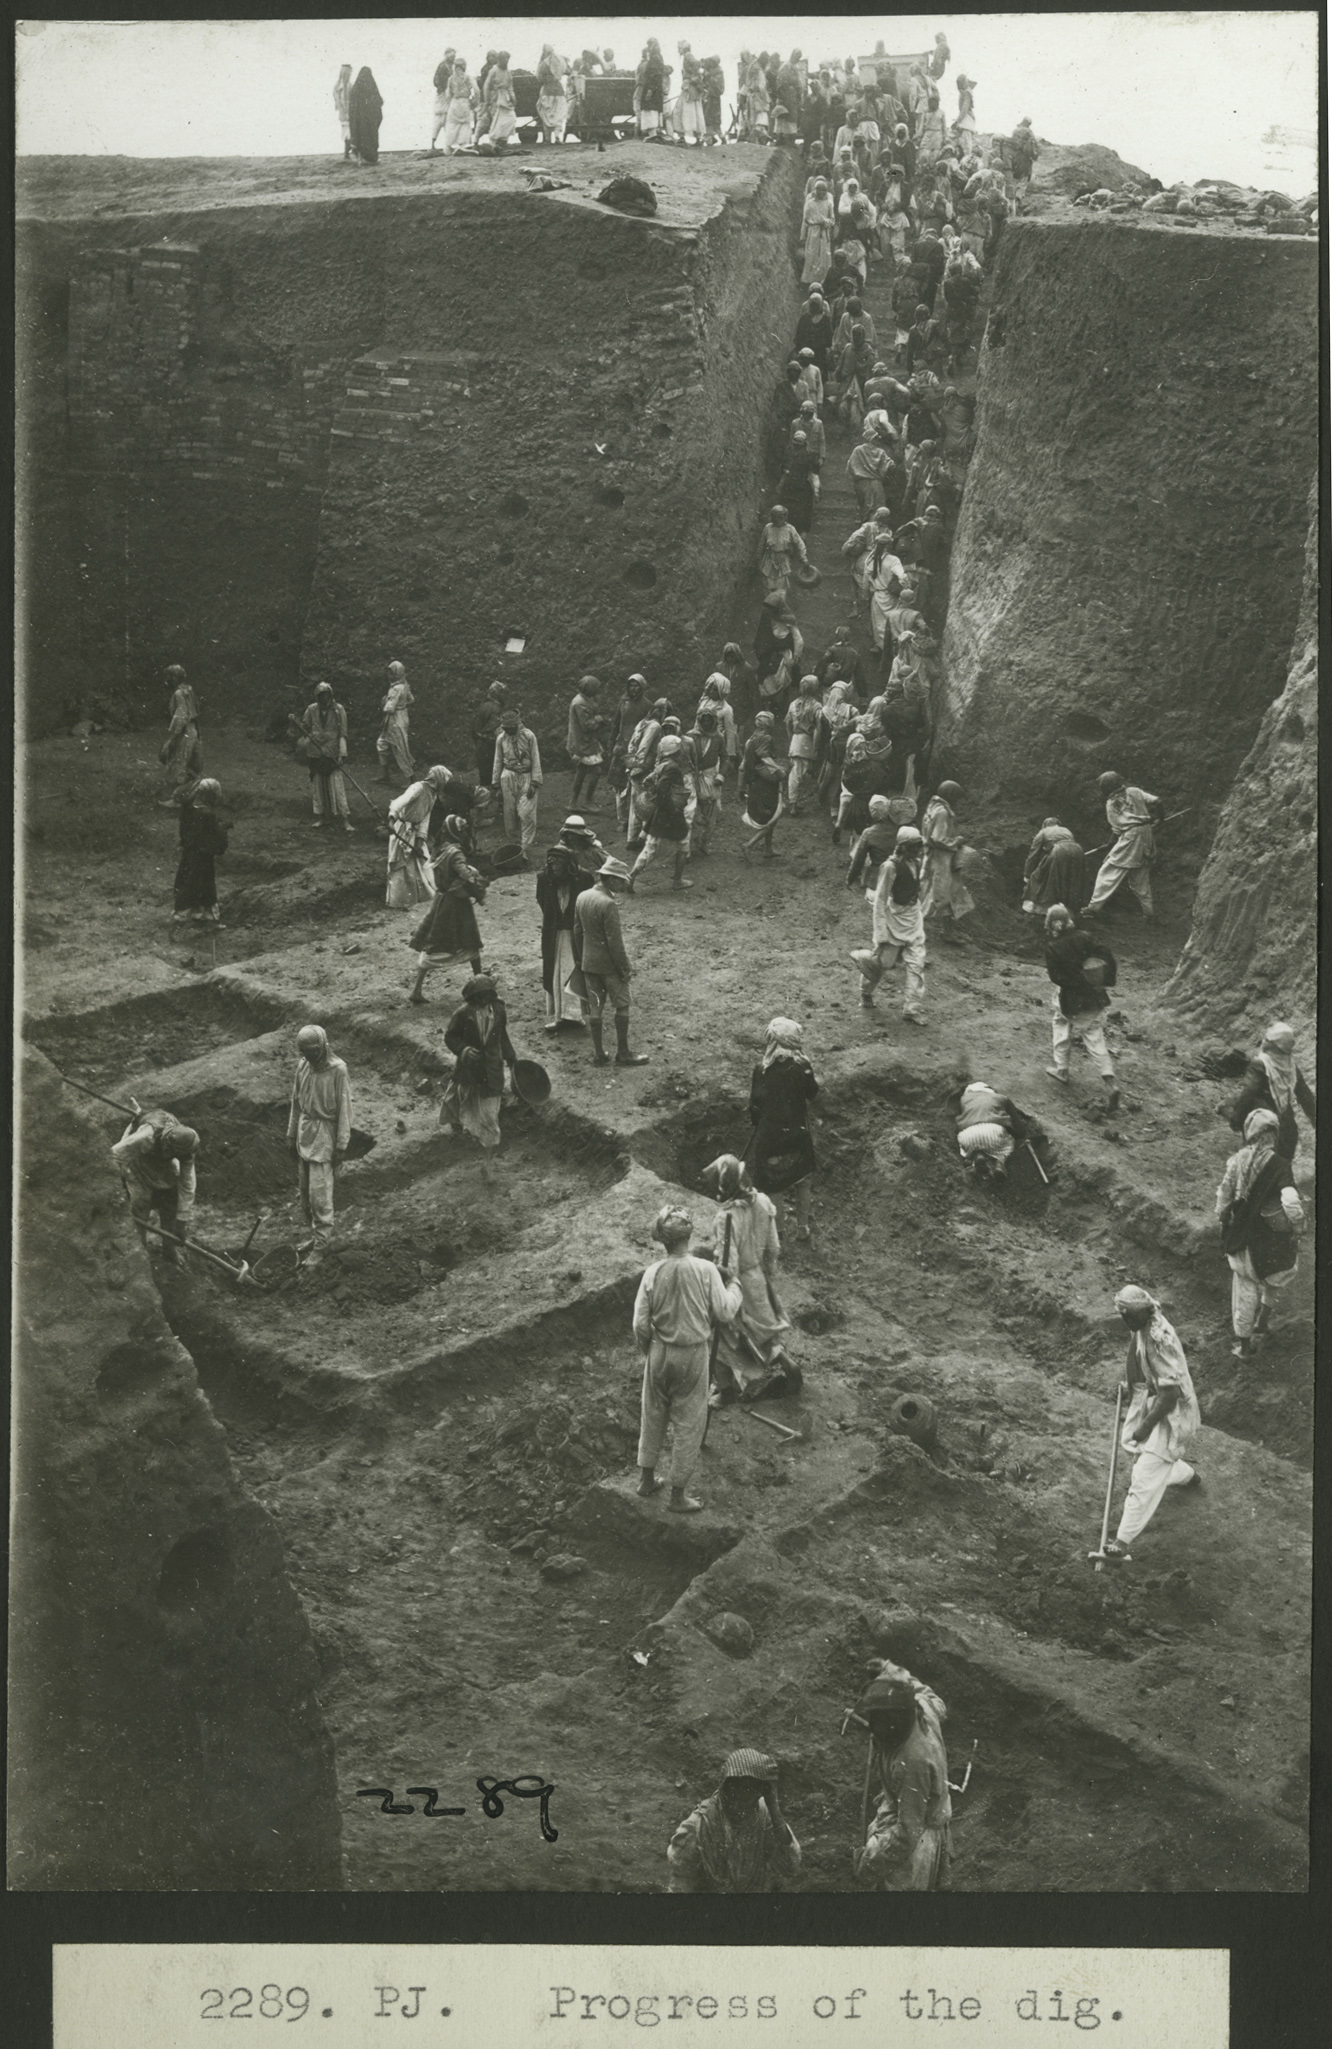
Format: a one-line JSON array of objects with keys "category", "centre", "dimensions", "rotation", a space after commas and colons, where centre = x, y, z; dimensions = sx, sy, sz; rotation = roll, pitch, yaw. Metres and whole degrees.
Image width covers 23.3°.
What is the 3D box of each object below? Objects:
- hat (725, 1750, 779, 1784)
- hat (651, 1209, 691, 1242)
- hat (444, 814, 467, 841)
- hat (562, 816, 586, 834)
[{"category": "hat", "centre": [0.270, 2.594, 11.367], "dimensions": [0.100, 0.104, 0.159], "rotation": [3, 0, -15]}, {"category": "hat", "centre": [0.013, 0.752, 12.014], "dimensions": [0.089, 0.084, 0.129], "rotation": [3, 24, -2]}, {"category": "hat", "centre": [-0.957, -0.881, 14.367], "dimensions": [0.073, 0.093, 0.098], "rotation": [0, 29, 1]}, {"category": "hat", "centre": [-0.437, -0.901, 14.459], "dimensions": [0.081, 0.043, 0.083], "rotation": [-6, 11, -34]}]
